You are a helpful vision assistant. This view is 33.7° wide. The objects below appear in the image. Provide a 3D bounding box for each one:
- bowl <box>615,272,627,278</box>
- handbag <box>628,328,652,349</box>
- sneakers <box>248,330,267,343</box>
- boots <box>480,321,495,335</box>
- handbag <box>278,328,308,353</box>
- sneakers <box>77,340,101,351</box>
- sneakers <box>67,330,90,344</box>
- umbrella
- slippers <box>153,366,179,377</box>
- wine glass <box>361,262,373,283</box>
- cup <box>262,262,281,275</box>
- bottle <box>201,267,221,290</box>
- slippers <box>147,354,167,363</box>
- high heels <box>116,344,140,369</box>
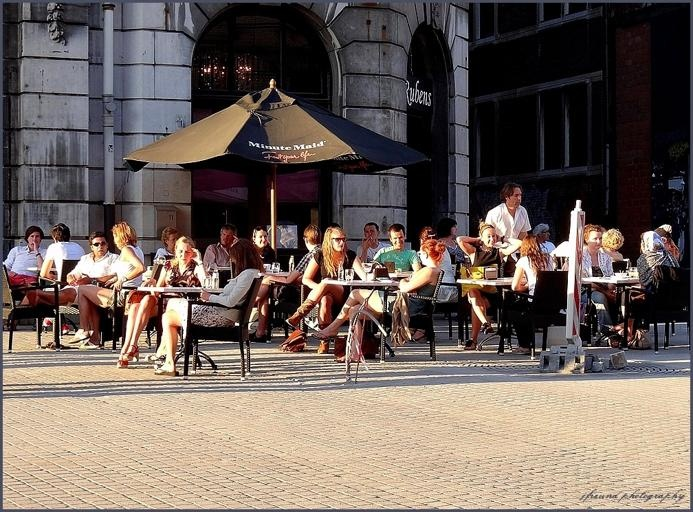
[{"bbox_3d":[4.388,0.317,18.395,0.158,0.053,0.160,0,-2,0],"label":"bowl"},{"bbox_3d":[4.599,1.297,18.086,0.296,0.336,0.344,2,2,19],"label":"handbag"},{"bbox_3d":[-1.489,1.331,18.808,0.357,0.143,0.128,5,4,35],"label":"sneakers"},{"bbox_3d":[2.389,1.243,19.746,0.201,0.286,0.668,-4,-11,2],"label":"boots"},{"bbox_3d":[-0.815,1.323,17.617,0.353,0.149,0.352,-29,49,-12],"label":"handbag"},{"bbox_3d":[-3.965,1.374,17.681,0.258,0.097,0.149,2,-3,-4],"label":"sneakers"},{"bbox_3d":[-4.098,1.219,17.730,0.401,0.162,0.202,-23,8,-29],"label":"sneakers"},{"bbox_3d":[-1.315,-1.111,19.187,4.492,3.555,4.285,1,6,32],"label":"umbrella"},{"bbox_3d":[-2.404,1.539,15.219,0.266,0.089,0.134,3,-3,25],"label":"slippers"},{"bbox_3d":[0.290,0.226,16.238,0.207,0.237,0.210,1,-7,-9],"label":"wine glass"},{"bbox_3d":[-1.197,0.199,18.054,0.260,0.179,0.163,-4,-4,36],"label":"cup"},{"bbox_3d":[-1.861,0.323,15.702,0.227,0.244,0.685,0,6,-6],"label":"bottle"},{"bbox_3d":[-2.647,1.400,15.724,0.146,0.099,0.366,6,-1,-43],"label":"slippers"},{"bbox_3d":[-3.013,1.415,15.841,0.180,0.205,0.509,-3,-9,-5],"label":"high heels"}]
